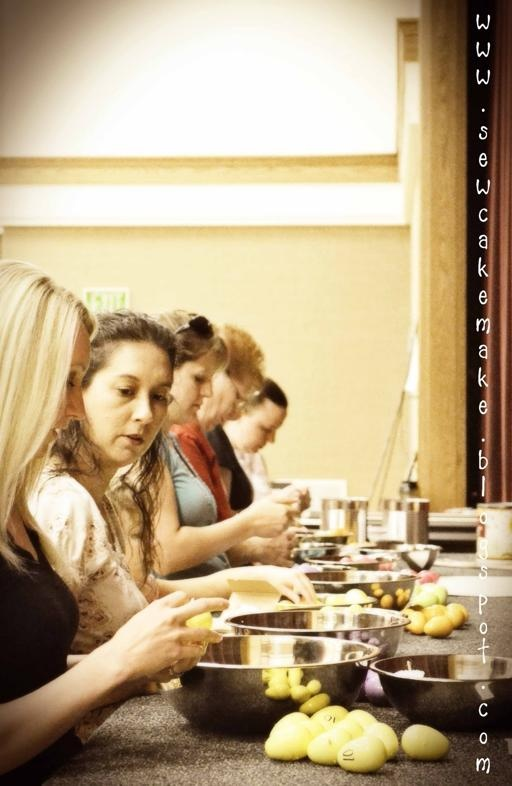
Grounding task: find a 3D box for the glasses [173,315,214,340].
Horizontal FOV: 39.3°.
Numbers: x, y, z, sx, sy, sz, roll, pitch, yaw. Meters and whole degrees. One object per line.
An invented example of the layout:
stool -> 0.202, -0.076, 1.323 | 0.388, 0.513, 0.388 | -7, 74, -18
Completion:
glasses -> -0.138, -0.153, 1.675 | 0.071, 0.032, 0.053 | -6, 10, -23
